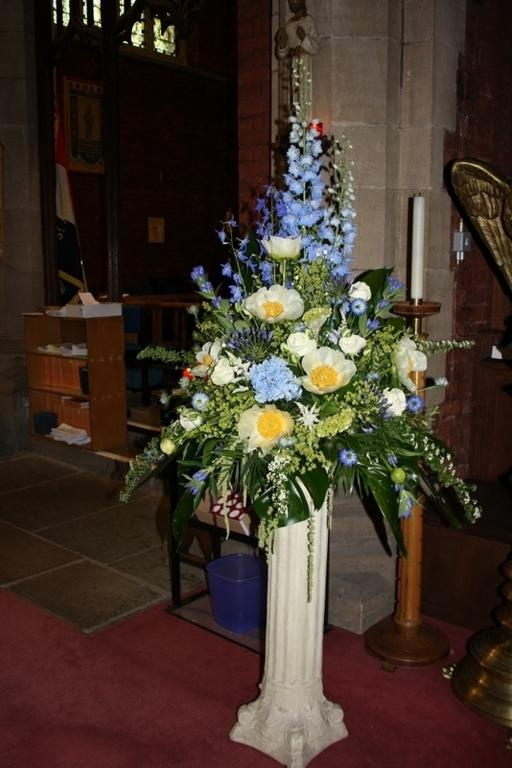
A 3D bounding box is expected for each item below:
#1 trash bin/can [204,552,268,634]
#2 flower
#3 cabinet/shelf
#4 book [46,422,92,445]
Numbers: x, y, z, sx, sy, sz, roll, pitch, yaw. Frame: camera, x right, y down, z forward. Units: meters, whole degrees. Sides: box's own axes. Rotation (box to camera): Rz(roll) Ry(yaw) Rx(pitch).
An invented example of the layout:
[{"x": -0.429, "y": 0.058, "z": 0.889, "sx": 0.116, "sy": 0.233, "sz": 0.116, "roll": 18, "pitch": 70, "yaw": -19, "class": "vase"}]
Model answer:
[{"x": -0.075, "y": 0.824, "z": 2.303, "sx": 0.275, "sy": 0.233, "sz": 0.292, "roll": 17, "pitch": -32, "yaw": -15, "class": "trash bin/can"}, {"x": 0.102, "y": -0.006, "z": 1.153, "sx": 0.535, "sy": 0.718, "sz": 0.622, "roll": 2, "pitch": -8, "yaw": 34, "class": "flower"}, {"x": -1.330, "y": -0.028, "z": 4.410, "sx": 1.029, "sy": 1.178, "sz": 0.372, "roll": 4, "pitch": 7, "yaw": 44, "class": "cabinet/shelf"}, {"x": -1.392, "y": 0.381, "z": 4.462, "sx": 0.220, "sy": 0.069, "sz": 0.173, "roll": 15, "pitch": 13, "yaw": 35, "class": "book"}]
